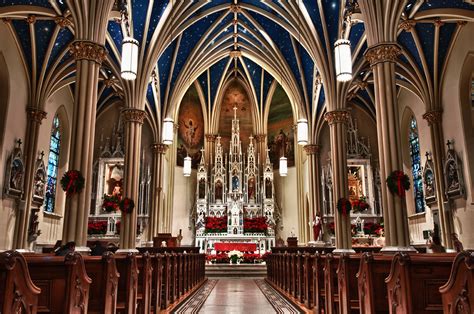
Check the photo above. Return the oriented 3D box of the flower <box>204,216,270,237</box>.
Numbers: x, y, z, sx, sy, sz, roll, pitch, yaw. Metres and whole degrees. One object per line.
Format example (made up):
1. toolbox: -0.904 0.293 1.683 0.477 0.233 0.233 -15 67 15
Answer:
1. flower: -0.059 4.890 26.246 3.197 0.731 1.106 1 -32 -1

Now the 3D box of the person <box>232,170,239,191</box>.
1. person: -0.119 1.746 27.941 0.571 1.546 0.221 -5 -10 0
